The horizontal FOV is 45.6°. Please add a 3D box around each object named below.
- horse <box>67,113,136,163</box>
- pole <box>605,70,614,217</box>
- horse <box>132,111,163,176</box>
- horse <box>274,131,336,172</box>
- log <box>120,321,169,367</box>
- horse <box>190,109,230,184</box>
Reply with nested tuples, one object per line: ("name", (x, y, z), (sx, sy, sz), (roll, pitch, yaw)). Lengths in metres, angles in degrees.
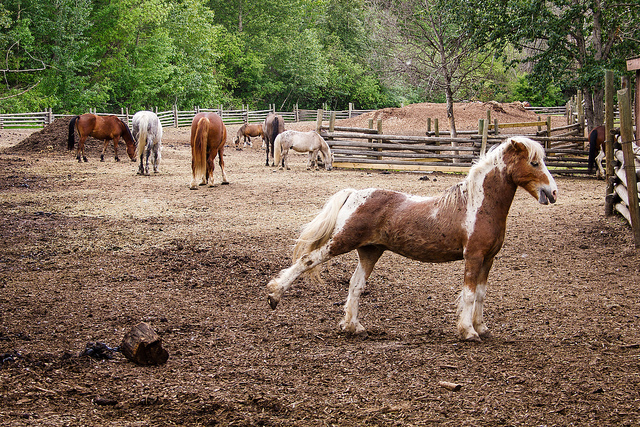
("horse", (-8.767, -3.036, 30.714), (0.825, 1.959, 3.118), (8, 8, 44))
("pole", (7.101, -2.020, 18.436), (0.254, 2.916, 0.241), (7, 18, 44))
("horse", (-6.008, -2.487, 26.493), (0.950, 2.180, 1.676), (-3, 12, -13))
("horse", (-0.641, -2.439, 29.667), (2.758, 1.505, 0.754), (2, -3, -31))
("log", (-3.175, 2.363, 13.663), (0.640, 0.568, 1.181), (2, 0, -27))
("horse", (-3.403, -1.944, 23.224), (0.947, 2.266, 1.980), (0, 12, -3))
